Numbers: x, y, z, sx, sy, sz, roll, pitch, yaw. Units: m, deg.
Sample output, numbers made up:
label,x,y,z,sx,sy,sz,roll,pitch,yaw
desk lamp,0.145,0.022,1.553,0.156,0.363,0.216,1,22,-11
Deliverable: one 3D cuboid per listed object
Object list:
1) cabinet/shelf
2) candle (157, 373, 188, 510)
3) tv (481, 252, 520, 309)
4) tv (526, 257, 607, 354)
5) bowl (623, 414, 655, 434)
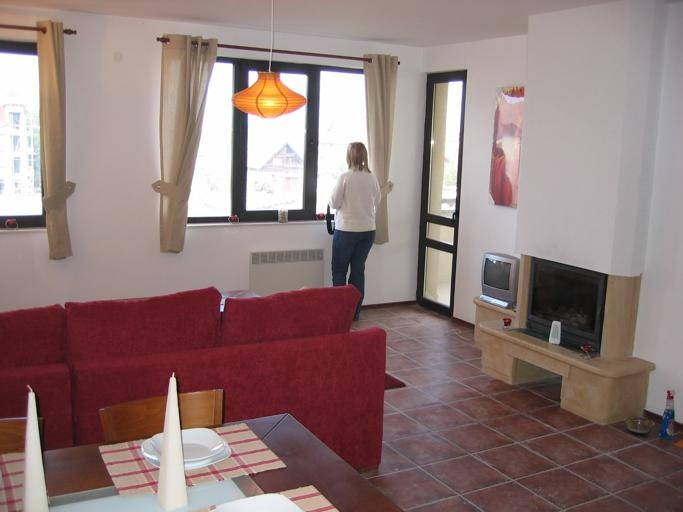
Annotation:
label,x,y,z,sx,sy,sz,roll,pitch,yaw
cabinet/shelf,1.892,0.969,4.682,0.518,0.476,1.317,-9,17,-40
candle,-0.562,0.597,1.775,0.096,0.460,0.144,-3,13,-18
tv,1.665,0.238,5.568,0.353,0.522,0.436,-10,16,-39
tv,1.936,0.425,4.587,0.208,0.657,0.663,0,13,-27
bowl,2.301,1.298,4.155,0.220,0.107,0.200,5,13,16
